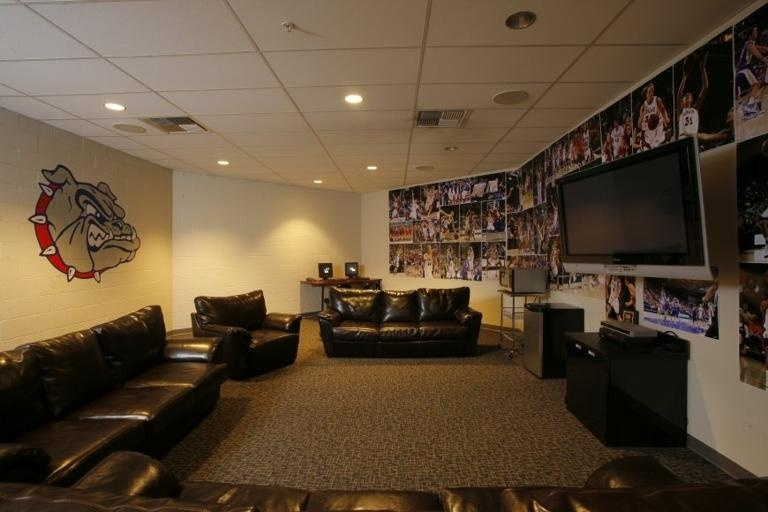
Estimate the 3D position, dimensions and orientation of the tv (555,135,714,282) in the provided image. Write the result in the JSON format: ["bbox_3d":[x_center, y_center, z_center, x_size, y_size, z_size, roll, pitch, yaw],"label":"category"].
[{"bbox_3d":[2.535,-0.451,4.713,0.184,1.245,1.797,-5,0,-26],"label":"tv"}]

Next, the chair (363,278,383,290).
[{"bbox_3d":[-0.256,0.606,9.900,0.247,0.300,0.314,1,0,10],"label":"chair"}]

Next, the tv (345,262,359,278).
[{"bbox_3d":[-0.673,0.311,10.215,0.324,0.354,0.284,-3,0,-18],"label":"tv"}]

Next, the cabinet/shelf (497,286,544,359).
[{"bbox_3d":[1.972,0.983,6.778,0.497,0.942,1.060,1,-1,3],"label":"cabinet/shelf"}]

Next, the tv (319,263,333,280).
[{"bbox_3d":[-1.219,0.337,9.781,0.347,0.375,0.212,0,-5,-20],"label":"tv"}]

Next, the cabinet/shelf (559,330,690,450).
[{"bbox_3d":[2.452,1.312,5.192,0.983,1.250,1.713,0,-1,1],"label":"cabinet/shelf"}]

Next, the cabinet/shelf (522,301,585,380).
[{"bbox_3d":[2.285,1.067,6.369,0.893,1.192,0.879,-1,3,-7],"label":"cabinet/shelf"}]

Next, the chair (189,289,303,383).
[{"bbox_3d":[-1.839,1.039,6.434,1.018,0.944,1.251,5,6,26],"label":"chair"}]
